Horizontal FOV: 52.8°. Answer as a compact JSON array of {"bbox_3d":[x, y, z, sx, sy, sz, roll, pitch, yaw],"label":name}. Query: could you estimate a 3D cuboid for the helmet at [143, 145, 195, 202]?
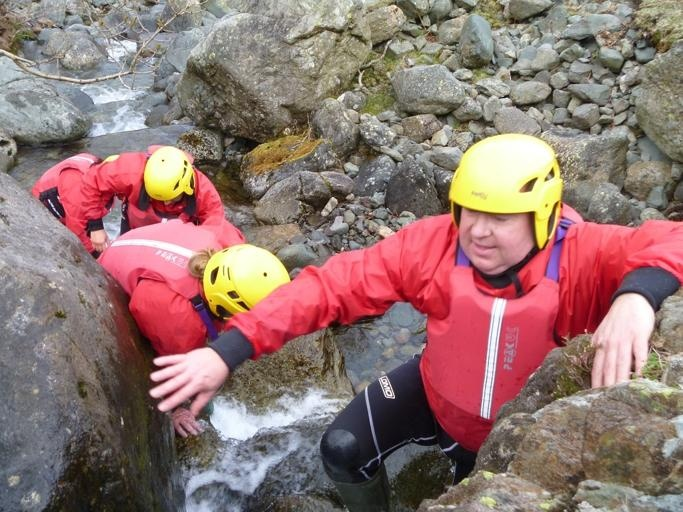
[{"bbox_3d":[-2.056,-1.031,8.166,0.461,0.504,0.694,5,62,-2],"label":"helmet"}]
